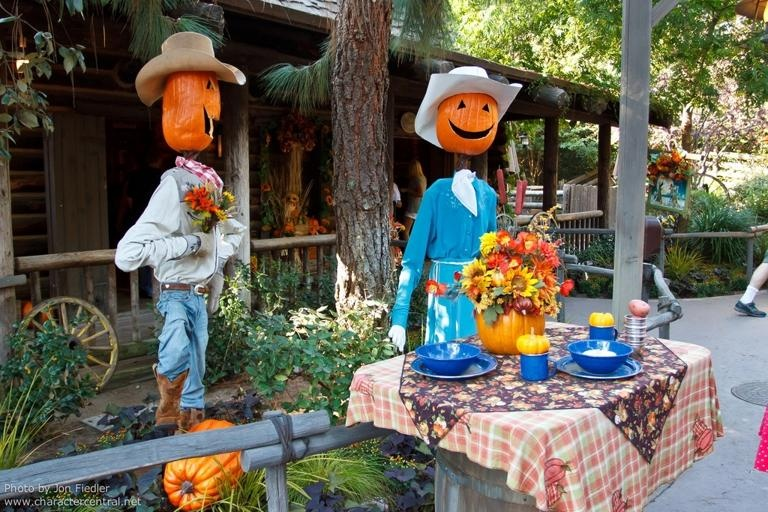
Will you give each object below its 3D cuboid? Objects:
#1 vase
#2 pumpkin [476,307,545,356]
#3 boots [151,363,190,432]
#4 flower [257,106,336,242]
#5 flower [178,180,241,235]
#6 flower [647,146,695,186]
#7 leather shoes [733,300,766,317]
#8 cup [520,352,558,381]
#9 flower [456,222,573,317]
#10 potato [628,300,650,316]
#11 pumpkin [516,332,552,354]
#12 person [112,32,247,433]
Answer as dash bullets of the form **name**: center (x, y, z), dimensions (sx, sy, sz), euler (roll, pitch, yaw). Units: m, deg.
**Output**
- **vase**: center (0.703, 0.429, 3.180), dimensions (0.277, 0.302, 0.295), euler (2, 2, -21)
- **pumpkin**: center (0.707, 0.433, 3.052), dimensions (0.263, 0.291, 0.285), euler (2, 5, 20)
- **boots**: center (-1.513, 1.065, 4.032), dimensions (0.203, 0.447, 0.419), euler (2, 0, -10)
- **flower**: center (-1.419, -1.253, 8.803), dimensions (1.264, 1.945, 0.641), euler (1, 2, -27)
- **flower**: center (-1.321, -0.323, 4.027), dimensions (0.308, 0.316, 0.323), euler (6, -3, 31)
- **flower**: center (3.191, -0.992, 6.103), dimensions (0.443, 0.296, 0.480), euler (2, 2, -12)
- **leather shoes**: center (5.435, 0.789, 7.984), dimensions (0.508, 0.254, 0.211), euler (1, 5, 5)
- **cup**: center (0.803, 0.575, 2.831), dimensions (0.155, 0.134, 0.133), euler (1, 1, 31)
- **flower**: center (0.798, 0.176, 3.266), dimensions (0.596, 0.689, 0.547), euler (-2, 10, -2)
- **potato**: center (1.477, 0.319, 3.137), dimensions (0.079, 0.094, 0.111), euler (-8, 17, 11)
- **pumpkin**: center (0.776, 0.453, 2.830), dimensions (0.115, 0.100, 0.125), euler (0, 6, 14)
- **person**: center (-1.489, -0.172, 4.049), dimensions (0.553, 2.889, 1.044), euler (0, 12, 30)
